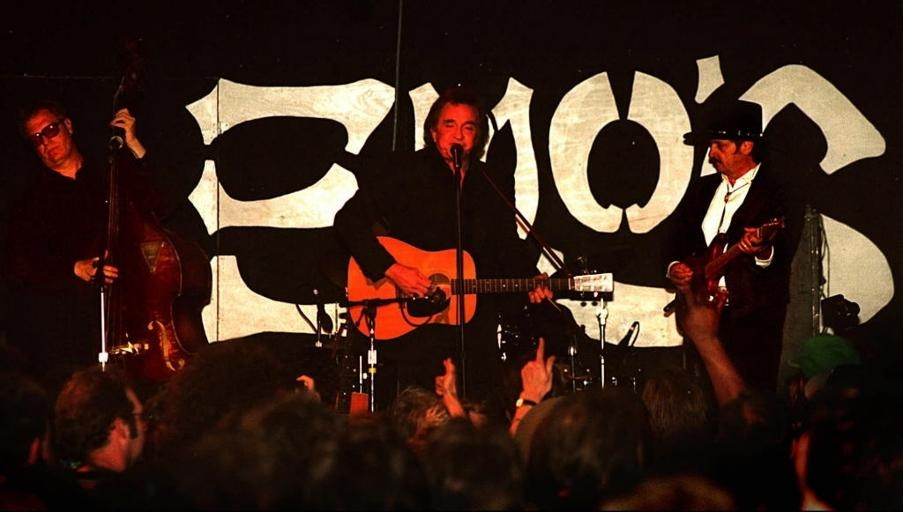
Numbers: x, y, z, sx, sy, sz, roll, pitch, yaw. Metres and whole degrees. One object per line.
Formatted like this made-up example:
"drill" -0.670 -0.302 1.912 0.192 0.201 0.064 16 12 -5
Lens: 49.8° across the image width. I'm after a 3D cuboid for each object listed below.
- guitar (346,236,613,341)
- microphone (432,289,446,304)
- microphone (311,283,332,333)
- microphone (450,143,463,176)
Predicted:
"guitar" 0.348 0.413 10.052 2.929 1.092 0.369 0 0 -2
"microphone" -0.134 0.412 10.309 0.167 0.149 0.092 3 -7 -6
"microphone" -1.536 0.631 11.473 0.222 0.517 0.111 -7 -21 -21
"microphone" 0.045 -0.942 9.484 0.119 0.304 0.242 3 -7 -6
